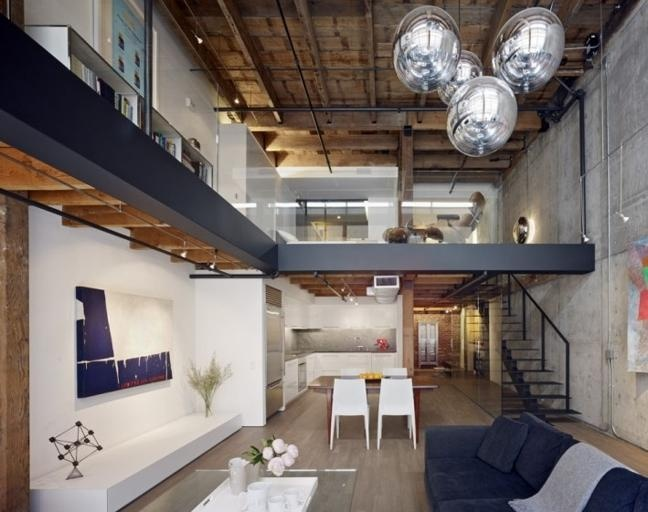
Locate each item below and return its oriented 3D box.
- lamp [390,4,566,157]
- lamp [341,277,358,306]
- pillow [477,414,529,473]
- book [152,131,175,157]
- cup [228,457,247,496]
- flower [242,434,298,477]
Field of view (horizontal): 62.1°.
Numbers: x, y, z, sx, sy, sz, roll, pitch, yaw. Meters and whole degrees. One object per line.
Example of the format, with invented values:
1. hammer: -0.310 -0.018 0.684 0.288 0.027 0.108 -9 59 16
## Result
1. lamp: 0.972 -1.123 3.520 0.918 1.005 0.442 -1 23 1
2. lamp: 0.608 0.930 13.420 0.538 0.188 0.861 4 -21 8
3. pillow: 1.644 1.712 4.897 0.120 0.403 0.404 22 -8 -6
4. book: -1.240 -0.879 4.168 0.081 0.165 0.308 -3 -10 9
5. cup: -0.660 1.709 4.151 0.143 0.253 0.179 0 -9 -10
6. flower: -0.432 1.625 4.303 0.380 0.406 0.865 0 -10 -8
